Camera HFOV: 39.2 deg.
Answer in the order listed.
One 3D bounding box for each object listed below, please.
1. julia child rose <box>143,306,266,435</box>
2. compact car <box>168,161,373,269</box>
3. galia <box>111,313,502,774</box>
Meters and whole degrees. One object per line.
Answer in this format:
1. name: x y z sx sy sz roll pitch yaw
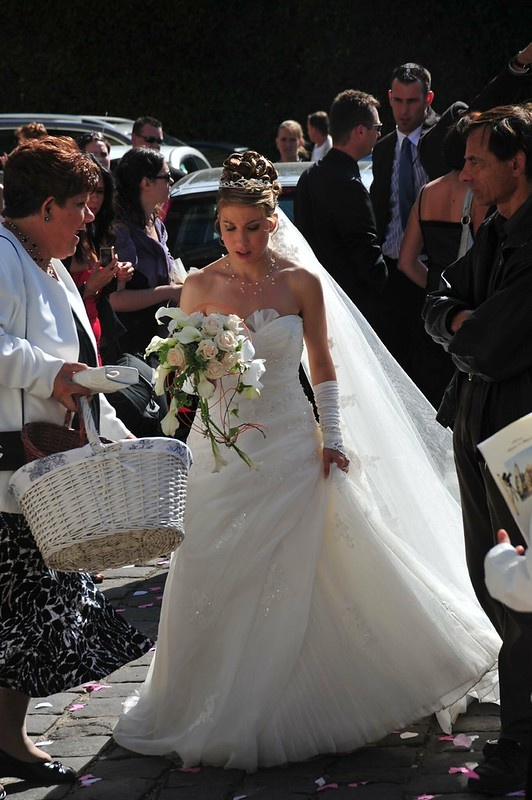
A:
1. julia child rose: -0.150 -0.083 2.498 0.496 0.422 0.426 3 26 2
2. compact car: 0.100 -1.645 7.256 1.313 0.968 2.194 4 22 33
3. galia: -0.041 0.358 2.968 1.817 1.624 1.219 3 -3 -33
